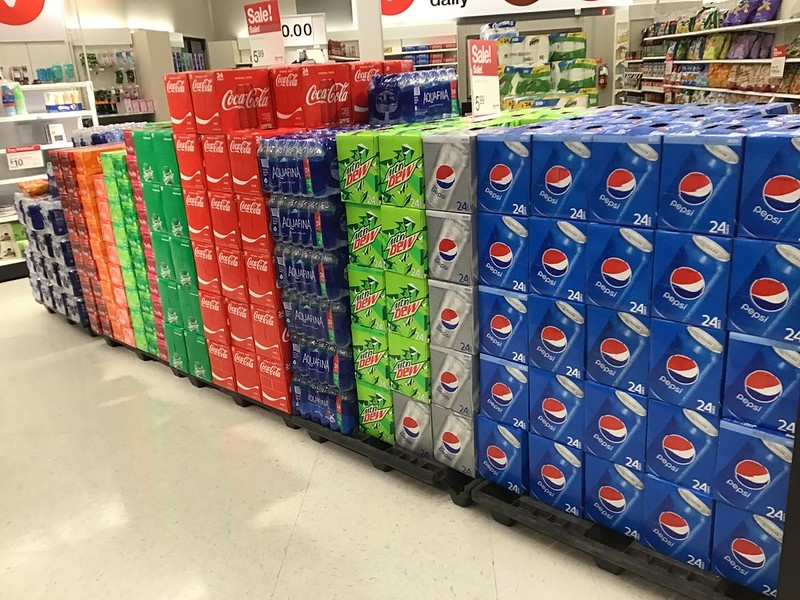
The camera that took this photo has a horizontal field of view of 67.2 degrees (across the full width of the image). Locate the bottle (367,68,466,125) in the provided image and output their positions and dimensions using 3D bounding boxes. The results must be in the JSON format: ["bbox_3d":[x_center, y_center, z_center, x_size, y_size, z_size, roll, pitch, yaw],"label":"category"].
[{"bbox_3d":[0.099,-1.357,3.989,0.714,0.377,0.365,-7,14,-13],"label":"bottle"}]
